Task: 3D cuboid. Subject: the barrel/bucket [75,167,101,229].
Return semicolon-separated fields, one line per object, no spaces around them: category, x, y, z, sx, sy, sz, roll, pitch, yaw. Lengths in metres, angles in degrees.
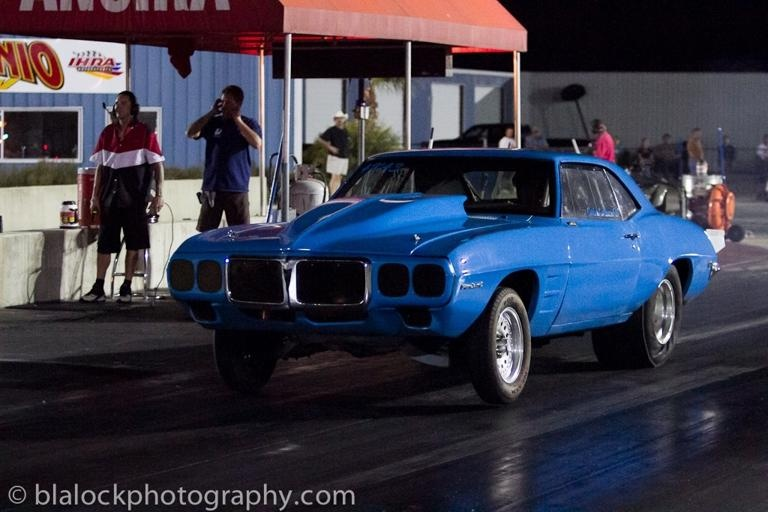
barrel/bucket;-4.309;-0.842;12.886;0.462;0.826;0.483;-1;5;0

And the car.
car;0.625;0.121;7.838;4.804;2.170;2.031;-4;6;-33

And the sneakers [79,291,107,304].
sneakers;-4.020;0.555;12.026;0.315;0.165;0.129;4;2;-10

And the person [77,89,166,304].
person;-3.526;-0.799;11.913;1.142;2.841;0.476;0;4;17

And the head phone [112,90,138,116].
head phone;-3.486;-2.043;11.789;0.322;0.340;0.248;-4;6;-37

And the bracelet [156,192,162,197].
bracelet;-3.041;-0.823;11.686;0.088;0.060;0.074;0;5;3

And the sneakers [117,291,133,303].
sneakers;-3.606;0.557;12.149;0.096;0.139;0.310;2;7;9
